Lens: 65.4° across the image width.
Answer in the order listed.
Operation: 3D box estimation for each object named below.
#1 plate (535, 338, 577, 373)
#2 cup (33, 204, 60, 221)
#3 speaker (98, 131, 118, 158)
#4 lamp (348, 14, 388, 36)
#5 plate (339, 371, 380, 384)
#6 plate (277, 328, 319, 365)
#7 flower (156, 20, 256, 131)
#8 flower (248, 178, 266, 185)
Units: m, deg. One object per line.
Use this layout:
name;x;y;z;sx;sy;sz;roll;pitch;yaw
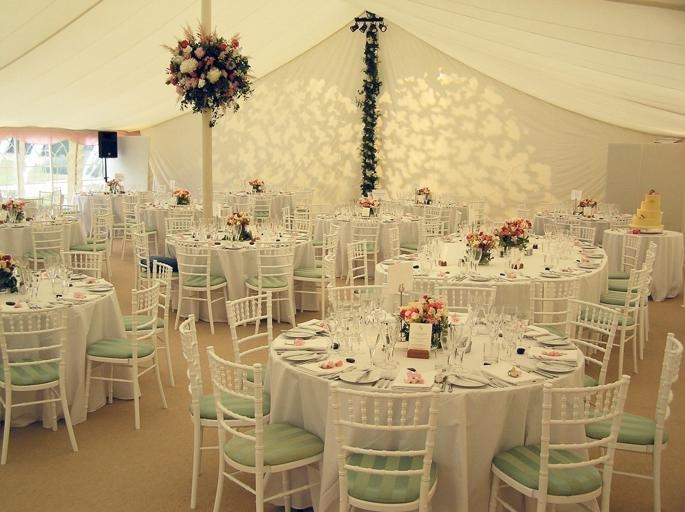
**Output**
plate;1.463;0.696;3.674;0.148;0.058;0.408;1;12;12
cup;-5.141;-0.717;9.272;0.442;0.356;0.430;4;3;0
speaker;-6.569;-3.096;14.821;0.602;0.956;0.454;0;17;-24
lamp;0.674;-6.077;14.075;0.745;0.571;0.314;-3;41;24
plate;0.104;0.766;3.364;0.255;0.033;0.138;1;13;1
plate;-0.314;0.647;3.735;0.202;0.046;0.213;-2;28;-10
flower;-2.094;-2.739;8.058;1.112;1.211;1.266;-9;4;37
flower;-2.255;-1.946;14.038;0.494;0.246;0.557;1;2;0
